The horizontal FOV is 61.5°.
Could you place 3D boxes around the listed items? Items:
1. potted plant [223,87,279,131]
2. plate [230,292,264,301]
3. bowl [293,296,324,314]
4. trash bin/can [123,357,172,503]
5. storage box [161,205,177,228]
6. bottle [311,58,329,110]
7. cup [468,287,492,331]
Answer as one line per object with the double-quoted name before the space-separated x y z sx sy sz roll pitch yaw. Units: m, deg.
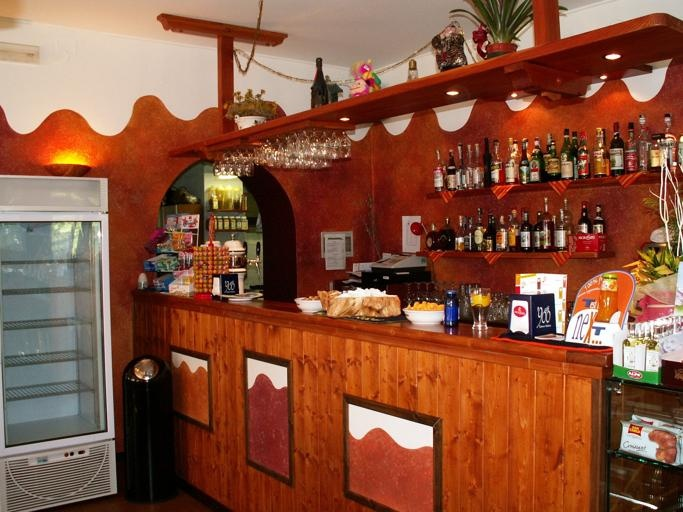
"potted plant" -0.690 -1.127 4.541 0.411 0.330 0.446 -2 6 -2
"plate" -0.733 0.322 4.458 0.228 0.052 0.409 -1 2 8
"bowl" -0.216 0.316 3.769 0.161 0.089 0.320 -2 2 -23
"trash bin/can" -1.543 1.396 4.647 0.384 1.137 0.232 -2 1 -20
"storage box" -2.018 -0.484 6.798 0.132 0.387 0.380 -2 3 -30
"bottle" -0.147 -1.225 4.049 0.121 0.410 0.314 -1 2 -6
"cup" 0.756 0.287 3.118 0.093 0.196 0.437 -1 2 14
